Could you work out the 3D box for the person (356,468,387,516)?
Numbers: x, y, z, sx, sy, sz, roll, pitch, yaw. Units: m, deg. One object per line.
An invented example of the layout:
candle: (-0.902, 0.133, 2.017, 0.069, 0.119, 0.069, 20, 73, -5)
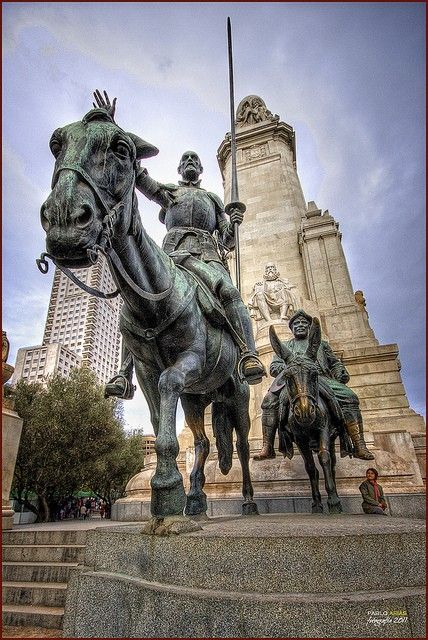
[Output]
person: (2.406, 2.627, 5.331, 0.375, 0.706, 0.411, 19, -29, -11)
